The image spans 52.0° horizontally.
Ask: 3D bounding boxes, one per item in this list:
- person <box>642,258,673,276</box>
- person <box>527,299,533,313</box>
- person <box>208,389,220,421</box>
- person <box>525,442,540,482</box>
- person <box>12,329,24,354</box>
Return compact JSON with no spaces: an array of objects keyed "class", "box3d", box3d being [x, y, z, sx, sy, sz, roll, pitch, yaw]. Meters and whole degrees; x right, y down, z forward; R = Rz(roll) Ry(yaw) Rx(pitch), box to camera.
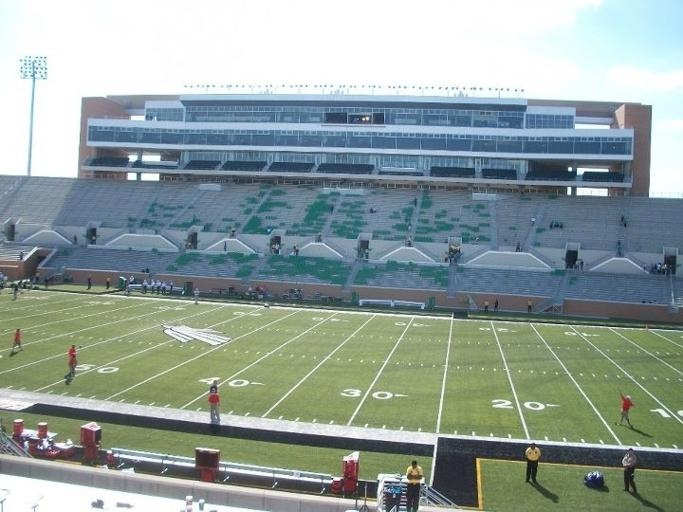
[{"class":"person","box3d":[22.620,0.786,48.900,1.607,0.333,1.481,11,26,39]},{"class":"person","box3d":[12.519,3.250,46.121,0.419,0.766,0.850,6,11,14]},{"class":"person","box3d":[-4.348,4.938,23.776,0.329,1.214,1.010,1,11,-10]},{"class":"person","box3d":[5.679,6.067,20.714,0.392,1.124,0.653,6,12,13]},{"class":"person","box3d":[-14.419,3.595,30.725,0.400,1.008,1.866,-2,11,-23]}]
